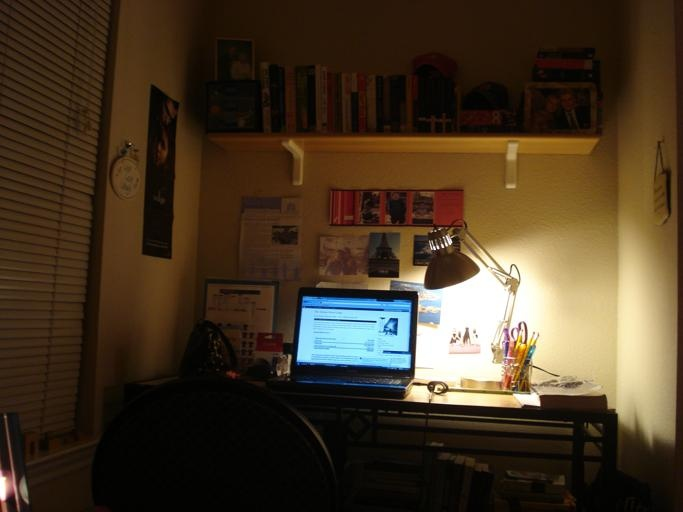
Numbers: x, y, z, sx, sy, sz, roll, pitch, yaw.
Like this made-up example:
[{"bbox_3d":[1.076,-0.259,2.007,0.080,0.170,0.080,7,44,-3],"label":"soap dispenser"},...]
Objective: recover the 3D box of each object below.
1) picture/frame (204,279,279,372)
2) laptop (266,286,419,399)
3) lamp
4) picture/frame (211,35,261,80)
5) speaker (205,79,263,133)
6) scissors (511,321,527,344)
[{"bbox_3d":[-0.449,0.330,2.648,0.364,0.463,0.061,1,-13,0],"label":"picture/frame"},{"bbox_3d":[0.042,0.365,2.507,0.482,0.416,0.360,2,-8,9],"label":"laptop"},{"bbox_3d":[0.575,0.133,2.540,0.409,0.607,0.355,3,-6,13],"label":"lamp"},{"bbox_3d":[-0.498,-0.902,2.722,0.182,0.219,0.010,-1,-6,-7],"label":"picture/frame"},{"bbox_3d":[-0.493,-0.667,2.763,0.248,0.238,0.223,0,-1,7],"label":"speaker"},{"bbox_3d":[0.764,0.328,2.501,0.093,0.097,0.022,-6,-12,35],"label":"scissors"}]
